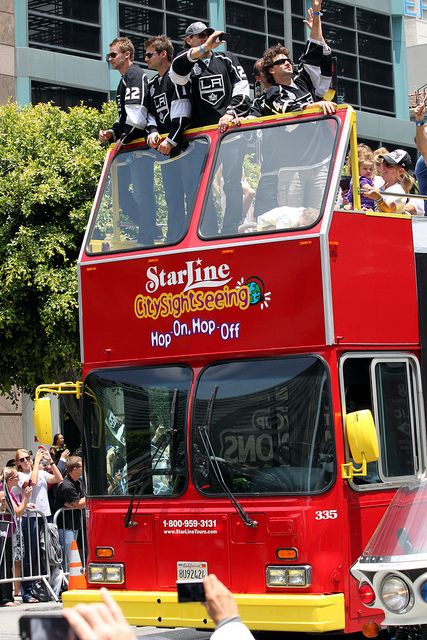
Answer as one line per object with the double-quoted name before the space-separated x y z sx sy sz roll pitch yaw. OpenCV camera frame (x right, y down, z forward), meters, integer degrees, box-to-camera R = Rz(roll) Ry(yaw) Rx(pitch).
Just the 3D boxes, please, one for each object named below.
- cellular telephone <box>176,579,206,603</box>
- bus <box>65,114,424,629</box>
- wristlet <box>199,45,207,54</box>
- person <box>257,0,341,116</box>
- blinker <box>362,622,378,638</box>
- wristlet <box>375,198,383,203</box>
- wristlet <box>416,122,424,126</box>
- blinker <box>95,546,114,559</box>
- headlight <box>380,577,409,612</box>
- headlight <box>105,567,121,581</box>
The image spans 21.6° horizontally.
"cellular telephone" -0.074 0.895 3.703 0.139 0.091 0.075 -1 -12 2
"bus" 0.160 0.263 8.473 2.433 3.818 1.479 0 2 35
"wristlet" -0.080 -2.091 8.623 0.042 0.031 0.043 -15 -27 34
"person" 0.664 -2.150 9.307 0.619 0.966 0.810 -1 2 3
"blinker" 0.906 1.817 6.521 0.109 0.103 0.026 11 21 25
"wristlet" 1.384 -1.019 9.431 0.034 0.033 0.025 -18 -30 34
"wristlet" 1.892 -1.825 10.338 0.040 0.027 0.039 -1 -1 -5
"blinker" -0.828 1.778 8.555 0.187 0.102 0.025 0 2 42
"headlight" 0.972 1.472 6.044 0.076 0.162 0.178 -2 2 -23
"headlight" -0.759 1.914 8.499 0.135 0.126 0.100 -5 -12 32
